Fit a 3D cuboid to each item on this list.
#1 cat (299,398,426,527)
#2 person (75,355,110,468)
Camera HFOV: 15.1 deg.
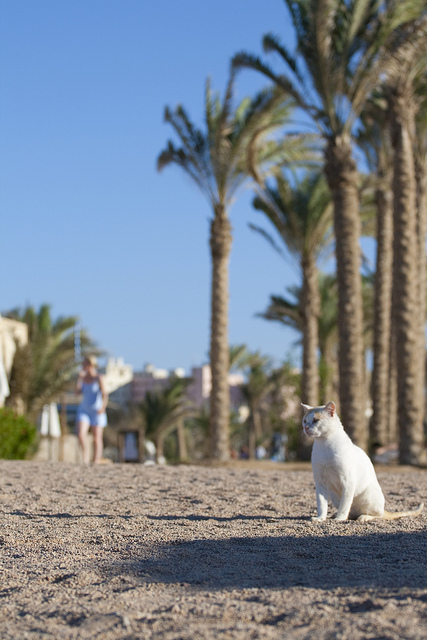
[{"bbox_3d":[1.268,1.369,15.547,0.834,1.168,0.431,-1,3,5],"label":"cat"},{"bbox_3d":[-1.509,1.098,20.001,0.384,1.343,0.567,-1,3,-6],"label":"person"}]
